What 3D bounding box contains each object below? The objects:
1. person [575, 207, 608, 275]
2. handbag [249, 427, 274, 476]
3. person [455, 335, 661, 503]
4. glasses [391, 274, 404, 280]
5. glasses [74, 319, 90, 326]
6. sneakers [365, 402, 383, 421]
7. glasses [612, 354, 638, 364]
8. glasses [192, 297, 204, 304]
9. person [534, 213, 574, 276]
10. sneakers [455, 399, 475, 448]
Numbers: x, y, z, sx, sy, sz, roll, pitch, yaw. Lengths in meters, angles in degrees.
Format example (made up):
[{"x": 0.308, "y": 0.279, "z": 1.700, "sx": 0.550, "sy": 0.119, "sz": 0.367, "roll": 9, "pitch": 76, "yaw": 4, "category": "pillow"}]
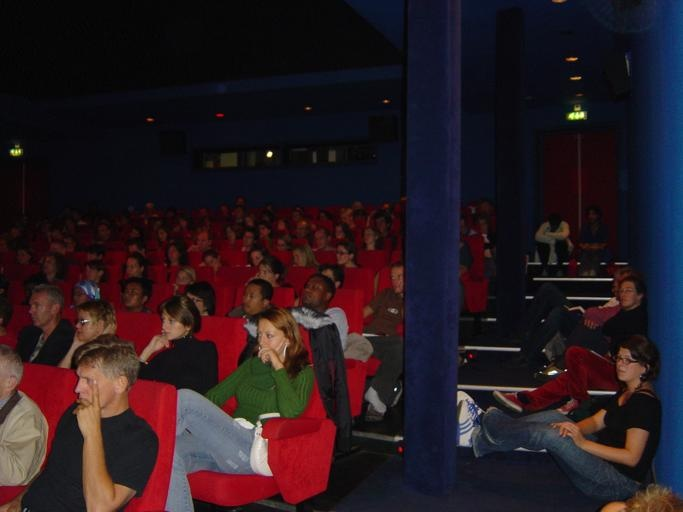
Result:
[{"x": 3.289, "y": -0.238, "z": 7.579, "sx": 0.335, "sy": 0.937, "sz": 0.703, "roll": -2, "pitch": -4, "yaw": 25, "category": "person"}, {"x": -0.415, "y": 1.032, "z": 3.059, "sx": 0.118, "sy": 0.317, "sz": 0.229, "roll": 1, "pitch": -11, "yaw": 1, "category": "handbag"}, {"x": 1.190, "y": 0.881, "z": 3.602, "sx": 1.248, "sy": 0.991, "sz": 0.622, "roll": 2, "pitch": 8, "yaw": 18, "category": "person"}, {"x": 0.471, "y": 0.157, "z": 4.860, "sx": 0.073, "sy": 0.089, "sz": 0.055, "roll": -4, "pitch": 7, "yaw": 34, "category": "glasses"}, {"x": -1.582, "y": 0.403, "z": 3.546, "sx": 0.051, "sy": 0.017, "sz": 0.055, "roll": -6, "pitch": -21, "yaw": 17, "category": "glasses"}, {"x": 0.252, "y": 1.198, "z": 4.458, "sx": 0.135, "sy": 0.149, "sz": 0.095, "roll": 0, "pitch": -5, "yaw": 4, "category": "sneakers"}, {"x": 1.560, "y": 0.561, "z": 3.180, "sx": 0.070, "sy": 0.022, "sz": 0.070, "roll": 19, "pitch": -19, "yaw": -24, "category": "glasses"}, {"x": -1.105, "y": 0.341, "z": 4.485, "sx": 0.058, "sy": 0.046, "sz": 0.045, "roll": -2, "pitch": -3, "yaw": -21, "category": "glasses"}, {"x": 2.897, "y": -0.208, "z": 7.905, "sx": 0.436, "sy": 0.882, "sz": 0.885, "roll": -2, "pitch": -4, "yaw": 19, "category": "person"}, {"x": 0.800, "y": 1.071, "z": 3.794, "sx": 0.099, "sy": 0.313, "sz": 0.143, "roll": 8, "pitch": -8, "yaw": -1, "category": "sneakers"}]
